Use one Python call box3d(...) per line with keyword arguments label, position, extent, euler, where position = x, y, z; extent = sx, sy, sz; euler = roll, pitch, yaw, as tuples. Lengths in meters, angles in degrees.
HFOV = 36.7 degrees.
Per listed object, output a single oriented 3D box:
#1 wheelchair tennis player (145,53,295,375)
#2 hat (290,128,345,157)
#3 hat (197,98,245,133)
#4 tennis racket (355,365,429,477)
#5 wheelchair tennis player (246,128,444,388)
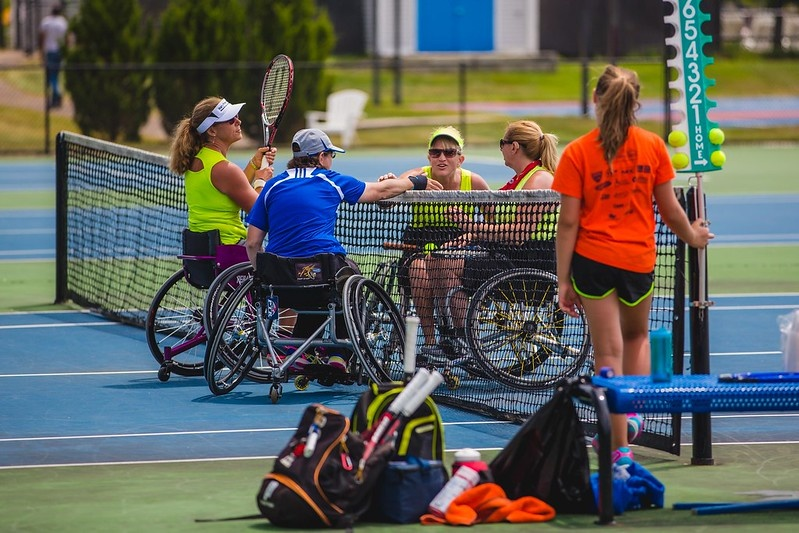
box3d(label="wheelchair tennis player", position=(-1.684, -0.589, 12.084), extent=(1.476, 3.239, 1.361), euler=(1, 1, 5))
box3d(label="hat", position=(-0.747, -1.114, 10.867), extent=(0.404, 0.177, 0.254), euler=(3, 3, -34))
box3d(label="hat", position=(-1.693, -1.453, 11.482), extent=(0.446, 0.138, 0.300), euler=(-30, 5, 20))
box3d(label="tennis racket", position=(-0.020, 1.081, 8.721), extent=(0.477, 0.791, 0.594), euler=(0, -2, -22))
box3d(label="wheelchair tennis player", position=(-0.502, -0.157, 11.409), extent=(2.060, 2.219, 1.211), euler=(-3, 7, -19))
